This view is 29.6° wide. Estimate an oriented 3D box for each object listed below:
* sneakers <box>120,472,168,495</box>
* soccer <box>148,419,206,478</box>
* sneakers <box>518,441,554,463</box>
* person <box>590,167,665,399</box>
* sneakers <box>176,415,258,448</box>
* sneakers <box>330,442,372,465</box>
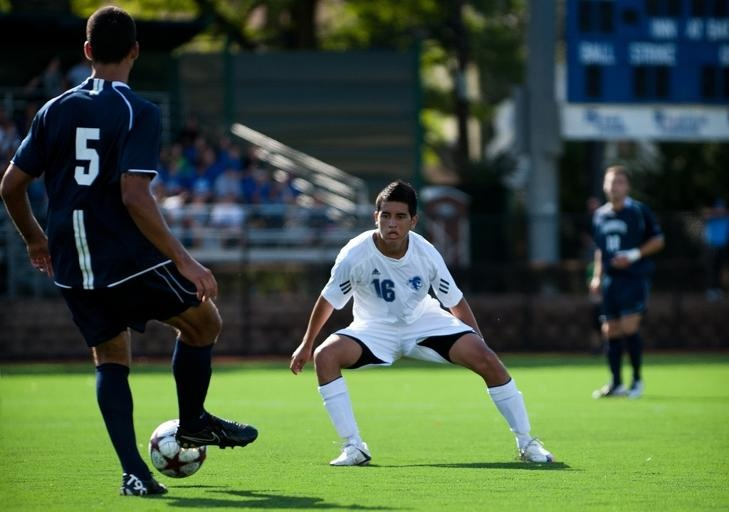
[{"bbox_3d":[-1.713,1.760,10.699,0.378,0.159,0.136,2,-2,-18],"label":"sneakers"},{"bbox_3d":[-1.476,1.531,11.007,0.416,0.411,0.411,2,-9,-2],"label":"soccer"},{"bbox_3d":[1.418,1.614,11.419,0.257,0.134,0.150,-3,-1,39],"label":"sneakers"},{"bbox_3d":[2.694,0.268,14.249,0.687,2.407,0.451,1,5,10],"label":"person"},{"bbox_3d":[-1.179,1.396,10.983,0.547,0.276,0.265,-2,1,-14],"label":"sneakers"},{"bbox_3d":[-0.095,1.629,11.452,0.411,0.193,0.145,-1,-3,-4],"label":"sneakers"}]
